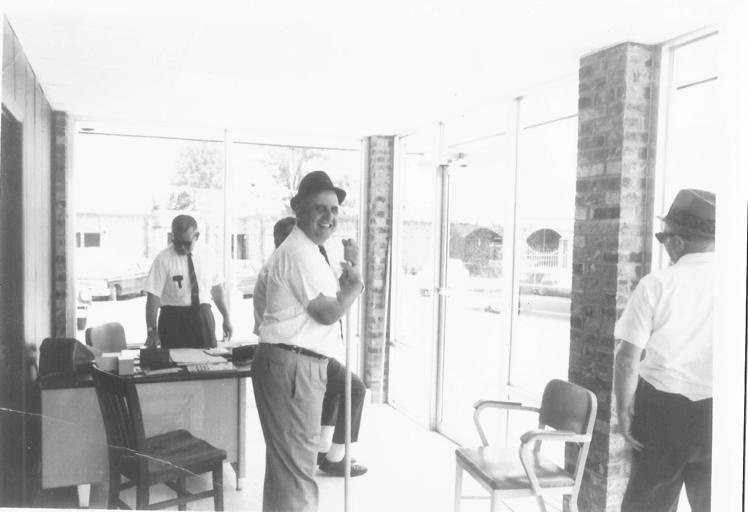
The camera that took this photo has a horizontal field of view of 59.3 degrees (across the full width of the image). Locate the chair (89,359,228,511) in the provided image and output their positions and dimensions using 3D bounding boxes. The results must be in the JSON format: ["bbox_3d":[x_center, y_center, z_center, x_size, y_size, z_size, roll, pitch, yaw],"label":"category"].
[{"bbox_3d":[-1.144,0.859,3.547,0.672,1.085,0.594,-2,4,-35],"label":"chair"}]

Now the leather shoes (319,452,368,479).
[{"bbox_3d":[-0.139,1.030,3.241,0.261,0.119,0.093,3,-5,-9],"label":"leather shoes"}]

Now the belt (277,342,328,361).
[{"bbox_3d":[-0.331,0.440,3.032,0.225,0.077,0.022,1,3,-8],"label":"belt"}]

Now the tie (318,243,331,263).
[{"bbox_3d":[-0.232,-0.015,3.098,0.025,0.125,0.017,-18,-1,-28],"label":"tie"}]

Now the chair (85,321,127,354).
[{"bbox_3d":[-1.274,0.381,3.133,0.133,0.173,0.163,-4,10,-19],"label":"chair"}]

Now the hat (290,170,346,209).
[{"bbox_3d":[-0.268,-0.334,3.154,0.206,0.084,0.173,-22,-26,29],"label":"hat"}]

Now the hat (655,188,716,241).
[{"bbox_3d":[1.594,-0.189,3.374,0.292,0.164,0.228,19,3,-8],"label":"hat"}]
